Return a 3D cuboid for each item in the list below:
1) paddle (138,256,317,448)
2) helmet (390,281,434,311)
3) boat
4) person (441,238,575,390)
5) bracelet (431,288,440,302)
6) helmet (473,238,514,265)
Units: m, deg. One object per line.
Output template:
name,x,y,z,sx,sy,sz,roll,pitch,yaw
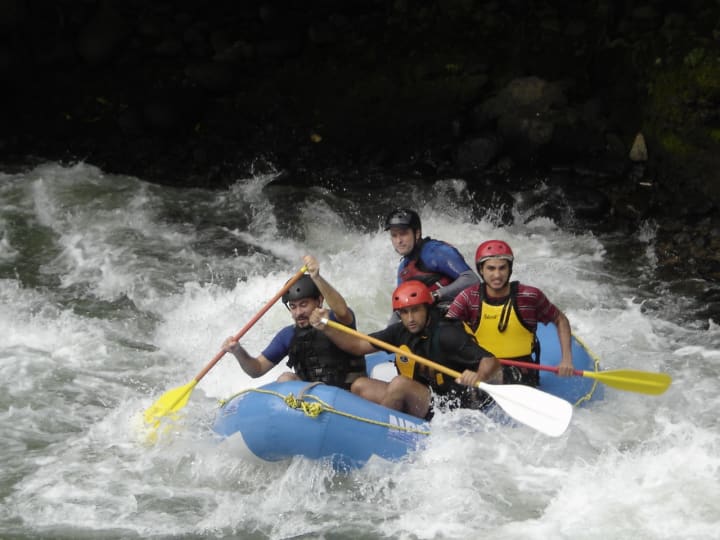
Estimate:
paddle,-1.106,0.650,6.749,0.152,2.315,0.416,45,31,-6
helmet,0.403,0.197,6.469,0.322,0.180,0.214,-17,71,2
boat,0.240,1.170,6.345,2.205,0.468,1.260,-8,29,-17
person,1.264,0.410,6.951,1.047,0.567,1.604,-12,93,9
bracelet,0.656,0.208,7.043,0.039,0.090,0.127,30,57,-24
helmet,1.091,-0.141,6.733,0.194,0.261,0.230,1,58,-2
